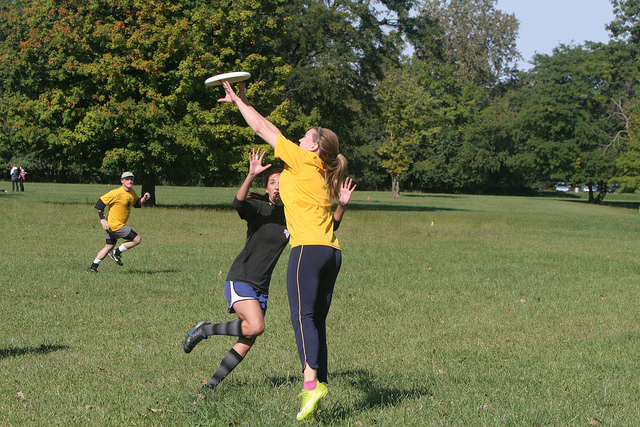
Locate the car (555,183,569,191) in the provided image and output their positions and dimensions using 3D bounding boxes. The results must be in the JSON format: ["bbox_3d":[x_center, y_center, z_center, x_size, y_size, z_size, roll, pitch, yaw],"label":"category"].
[{"bbox_3d":[37.246,-4.123,116.799,1.340,0.871,1.969,0,-4,9],"label":"car"}]
